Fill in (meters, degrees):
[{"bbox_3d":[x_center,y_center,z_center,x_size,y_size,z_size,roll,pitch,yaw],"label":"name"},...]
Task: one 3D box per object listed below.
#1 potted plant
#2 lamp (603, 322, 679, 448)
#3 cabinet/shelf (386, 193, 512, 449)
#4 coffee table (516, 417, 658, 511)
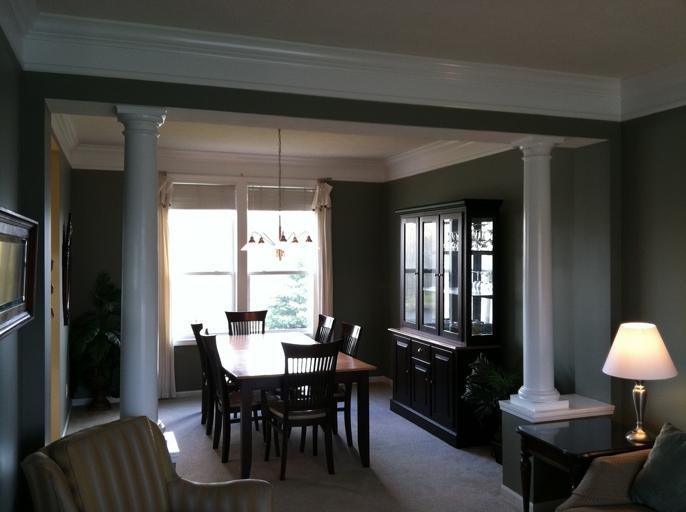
[{"bbox_3d":[-2.945,1.033,6.354,0.577,1.622,0.784,-2,4,-27],"label":"potted plant"},{"bbox_3d":[2.088,0.881,3.747,0.416,0.807,0.628,3,5,39],"label":"lamp"},{"bbox_3d":[1.069,0.658,5.846,0.519,2.490,1.289,-2,4,-30],"label":"cabinet/shelf"},{"bbox_3d":[1.653,1.279,3.698,0.642,0.707,0.697,3,-3,-20],"label":"coffee table"}]
